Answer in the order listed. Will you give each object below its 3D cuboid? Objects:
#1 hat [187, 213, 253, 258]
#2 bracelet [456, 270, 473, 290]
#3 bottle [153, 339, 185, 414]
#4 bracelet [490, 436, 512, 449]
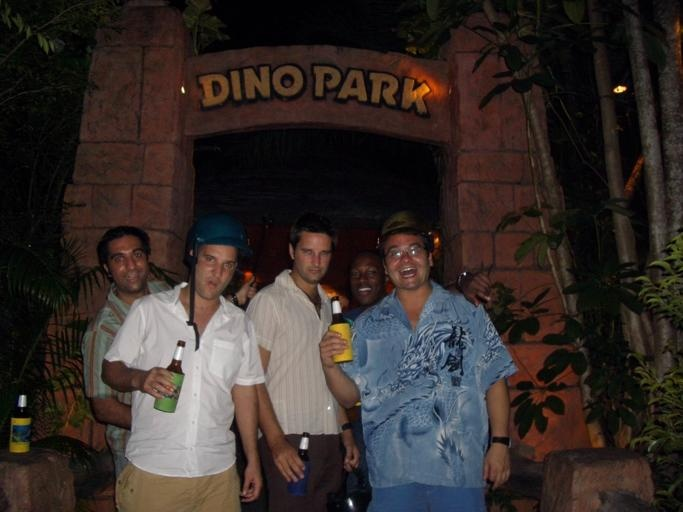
[{"bbox_3d":[-0.822,-0.144,3.970,0.362,0.192,0.274,0,-4,32],"label":"hat"},{"bbox_3d":[1.334,0.296,6.345,0.070,0.219,0.212,24,26,2],"label":"bracelet"},{"bbox_3d":[-1.064,0.755,3.620,0.157,0.443,0.291,8,-15,-27],"label":"bottle"},{"bbox_3d":[1.080,1.257,3.935,0.126,0.066,0.105,-2,-14,13],"label":"bracelet"}]
